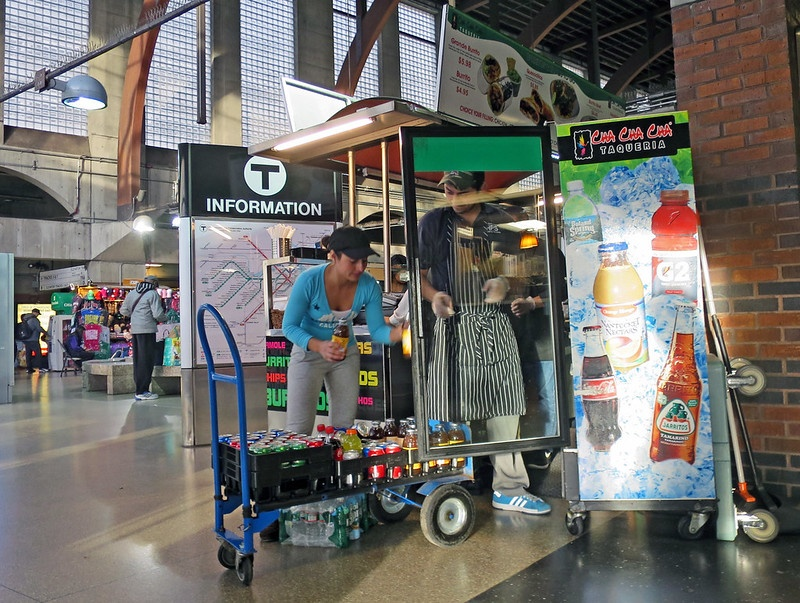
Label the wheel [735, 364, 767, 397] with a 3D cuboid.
[{"bbox_3d":[2.200,0.509,4.354,0.152,0.194,0.148,-2,5,0],"label":"wheel"}]

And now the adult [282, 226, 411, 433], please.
[{"bbox_3d":[-0.320,0.394,4.441,0.903,1.665,0.730,4,10,16],"label":"adult"}]

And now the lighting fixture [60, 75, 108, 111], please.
[{"bbox_3d":[-4.344,-2.761,9.400,0.567,0.369,0.542,-4,3,-43],"label":"lighting fixture"}]

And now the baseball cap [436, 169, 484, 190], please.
[{"bbox_3d":[0.412,-0.780,4.475,0.188,0.134,0.313,13,3,24],"label":"baseball cap"}]

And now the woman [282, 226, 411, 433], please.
[{"bbox_3d":[-0.321,0.400,4.445,0.919,1.665,0.704,4,11,15],"label":"woman"}]

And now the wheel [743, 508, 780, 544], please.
[{"bbox_3d":[2.127,1.316,4.069,0.205,0.186,0.134,0,5,18],"label":"wheel"}]

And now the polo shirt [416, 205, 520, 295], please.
[{"bbox_3d":[0.486,-0.328,4.619,0.698,0.648,0.389,5,14,8],"label":"polo shirt"}]

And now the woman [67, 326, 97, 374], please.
[{"bbox_3d":[-6.832,0.999,14.761,0.566,0.896,0.484,1,4,-2],"label":"woman"}]

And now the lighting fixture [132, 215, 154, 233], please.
[{"bbox_3d":[-5.542,-1.656,14.848,0.471,0.343,0.454,2,1,-9],"label":"lighting fixture"}]

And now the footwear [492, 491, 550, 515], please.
[{"bbox_3d":[0.807,1.348,4.634,0.356,0.135,0.133,-2,-5,21],"label":"footwear"}]

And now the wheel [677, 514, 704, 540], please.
[{"bbox_3d":[1.728,1.356,4.111,0.150,0.142,0.062,-4,-8,-2],"label":"wheel"}]

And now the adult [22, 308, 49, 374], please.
[{"bbox_3d":[-8.294,0.896,15.711,0.628,1.490,0.599,-4,-2,10],"label":"adult"}]

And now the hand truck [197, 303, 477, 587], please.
[{"bbox_3d":[-0.455,0.801,4.212,1.562,1.353,0.766,0,-4,-33],"label":"hand truck"}]

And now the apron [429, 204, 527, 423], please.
[{"bbox_3d":[0.465,0.075,4.644,0.678,1.448,0.382,-6,3,-23],"label":"apron"}]

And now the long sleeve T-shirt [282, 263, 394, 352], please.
[{"bbox_3d":[-0.474,0.039,4.472,0.692,0.520,0.549,1,14,-40],"label":"long sleeve T-shirt"}]

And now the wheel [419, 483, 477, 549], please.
[{"bbox_3d":[0.276,1.303,4.142,0.326,0.308,0.099,-16,5,-34],"label":"wheel"}]

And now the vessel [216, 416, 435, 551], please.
[{"bbox_3d":[-0.593,1.027,4.416,1.262,1.068,0.739,-2,1,-27],"label":"vessel"}]

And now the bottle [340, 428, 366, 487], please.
[{"bbox_3d":[-0.284,0.905,4.063,0.121,0.272,0.118,-6,-3,0],"label":"bottle"}]

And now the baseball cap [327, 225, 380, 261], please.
[{"bbox_3d":[-0.303,-0.348,4.271,0.261,0.138,0.188,5,6,30],"label":"baseball cap"}]

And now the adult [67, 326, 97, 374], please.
[{"bbox_3d":[-6.832,0.987,14.766,0.552,0.879,0.481,0,3,-9],"label":"adult"}]
